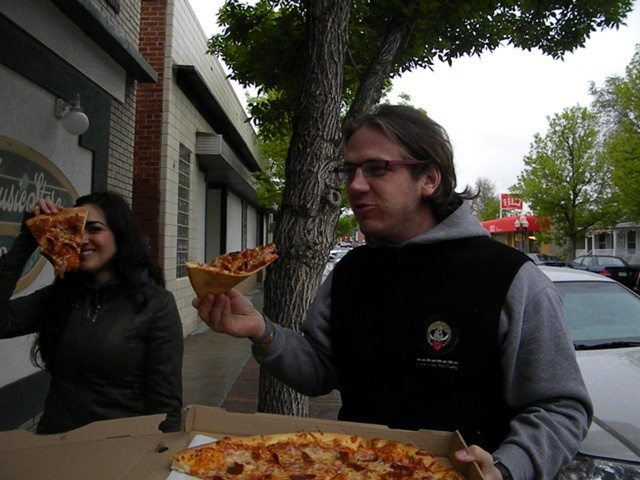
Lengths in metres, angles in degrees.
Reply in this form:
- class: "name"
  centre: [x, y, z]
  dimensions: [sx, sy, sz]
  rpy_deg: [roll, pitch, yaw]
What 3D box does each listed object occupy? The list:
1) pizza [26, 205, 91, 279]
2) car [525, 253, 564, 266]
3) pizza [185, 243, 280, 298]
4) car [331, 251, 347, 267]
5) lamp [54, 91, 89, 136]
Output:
- class: "pizza"
  centre: [-1.769, 0.015, 2.972]
  dimensions: [0.400, 0.449, 0.281]
  rpy_deg: [0, 9, -12]
- class: "car"
  centre: [10.692, 0.894, 20.978]
  dimensions: [2.112, 0.710, 0.953]
  rpy_deg: [-4, 5, -39]
- class: "pizza"
  centre: [-0.501, 0.157, 2.565]
  dimensions: [0.300, 0.169, 0.427]
  rpy_deg: [14, 17, 29]
- class: "car"
  centre: [1.497, 1.872, 42.346]
  dimensions: [1.252, 1.155, 2.406]
  rpy_deg: [0, -10, -3]
- class: "lamp"
  centre: [-3.016, -1.507, 5.465]
  dimensions: [0.351, 0.474, 0.288]
  rpy_deg: [-2, 1, -14]
